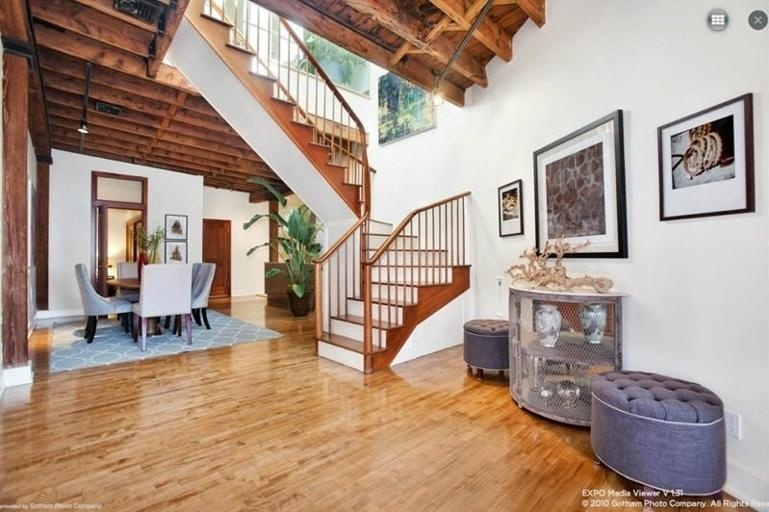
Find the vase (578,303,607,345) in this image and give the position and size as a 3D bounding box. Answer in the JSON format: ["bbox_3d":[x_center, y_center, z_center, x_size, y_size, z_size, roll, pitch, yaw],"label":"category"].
[{"bbox_3d":[1.977,0.639,4.581,0.242,0.396,0.251,0,0,11],"label":"vase"}]

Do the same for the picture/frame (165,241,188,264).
[{"bbox_3d":[-4.128,-0.068,9.549,0.043,0.411,0.407,-5,-7,41],"label":"picture/frame"}]

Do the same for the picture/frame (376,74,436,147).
[{"bbox_3d":[0.384,-2.314,7.691,0.151,1.420,1.393,0,-1,-36],"label":"picture/frame"}]

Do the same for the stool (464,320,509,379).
[{"bbox_3d":[1.161,1.073,5.510,0.502,0.571,0.487,2,6,13],"label":"stool"}]

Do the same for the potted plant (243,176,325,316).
[{"bbox_3d":[-1.862,-0.084,8.822,1.415,2.452,1.918,0,5,-19],"label":"potted plant"}]

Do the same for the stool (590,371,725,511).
[{"bbox_3d":[2.338,1.477,4.278,0.952,0.722,1.164,-5,3,-29],"label":"stool"}]

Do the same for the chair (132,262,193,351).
[{"bbox_3d":[-3.054,0.631,6.662,0.704,1.106,0.796,-2,6,-28],"label":"chair"}]

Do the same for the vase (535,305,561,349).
[{"bbox_3d":[1.588,0.672,4.698,0.258,0.425,0.266,-5,11,4],"label":"vase"}]

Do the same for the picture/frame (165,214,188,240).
[{"bbox_3d":[-4.178,-0.572,9.667,0.041,0.600,0.506,-5,-5,40],"label":"picture/frame"}]

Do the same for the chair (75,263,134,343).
[{"bbox_3d":[-3.920,0.625,6.820,0.632,1.069,0.789,-2,6,-28],"label":"chair"}]

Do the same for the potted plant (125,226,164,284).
[{"bbox_3d":[-4.370,-0.098,9.020,0.453,0.669,0.380,25,29,10],"label":"potted plant"}]
